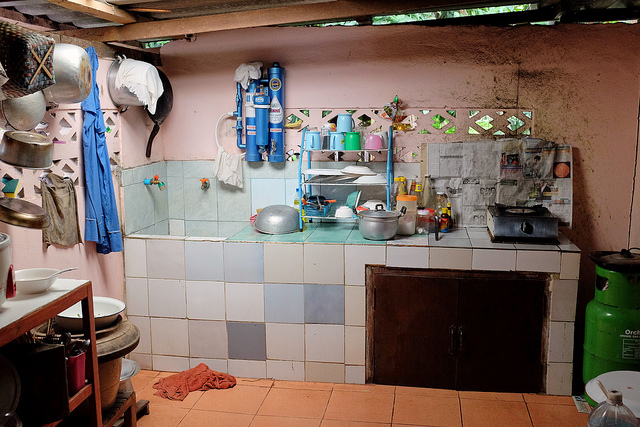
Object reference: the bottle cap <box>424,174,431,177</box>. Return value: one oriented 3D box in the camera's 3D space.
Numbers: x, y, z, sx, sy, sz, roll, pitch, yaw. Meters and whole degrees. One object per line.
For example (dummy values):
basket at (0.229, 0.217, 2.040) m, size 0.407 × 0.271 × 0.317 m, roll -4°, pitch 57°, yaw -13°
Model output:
bottle cap at (0.964, -0.339, 4.448) m, size 0.054 × 0.022 × 0.051 m, roll 2°, pitch 7°, yaw 27°

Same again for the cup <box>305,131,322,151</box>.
cup at (-0.054, -0.642, 4.398) m, size 0.131 × 0.130 × 0.162 m, roll 1°, pitch 12°, yaw 1°

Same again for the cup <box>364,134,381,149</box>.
cup at (0.466, -0.622, 4.326) m, size 0.141 × 0.110 × 0.130 m, roll 0°, pitch -1°, yaw 0°

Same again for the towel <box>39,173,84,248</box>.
towel at (-1.906, -0.025, 3.654) m, size 0.092 × 0.546 × 0.321 m, roll 0°, pitch 7°, yaw 9°

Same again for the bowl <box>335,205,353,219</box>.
bowl at (0.218, -0.009, 4.346) m, size 0.143 × 0.073 × 0.132 m, roll -1°, pitch -1°, yaw 0°

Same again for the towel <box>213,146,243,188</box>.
towel at (-0.871, -0.444, 4.738) m, size 0.367 × 0.322 × 0.137 m, roll 10°, pitch 6°, yaw 2°

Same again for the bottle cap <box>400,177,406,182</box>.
bottle cap at (0.760, -0.308, 4.490) m, size 0.039 × 0.039 × 0.102 m, roll 3°, pitch 7°, yaw 32°

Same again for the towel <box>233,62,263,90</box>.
towel at (-0.661, -1.247, 4.533) m, size 0.255 × 0.219 × 0.073 m, roll 5°, pitch 7°, yaw 8°

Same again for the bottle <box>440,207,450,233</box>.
bottle at (1.078, 0.056, 4.280) m, size 0.074 × 0.200 × 0.122 m, roll 1°, pitch 7°, yaw 14°

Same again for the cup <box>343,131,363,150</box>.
cup at (0.307, -0.648, 4.399) m, size 0.211 × 0.161 × 0.107 m, roll -4°, pitch 7°, yaw -22°

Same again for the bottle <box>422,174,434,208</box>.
bottle at (0.967, -0.202, 4.442) m, size 0.091 × 0.295 × 0.066 m, roll -1°, pitch 7°, yaw 4°

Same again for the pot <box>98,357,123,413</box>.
pot at (-1.424, 1.157, 3.356) m, size 0.093 × 0.363 × 0.247 m, roll 0°, pitch 7°, yaw 9°

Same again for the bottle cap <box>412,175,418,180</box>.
bottle cap at (0.867, -0.329, 4.506) m, size 0.045 × 0.039 × 0.050 m, roll 0°, pitch 7°, yaw 9°

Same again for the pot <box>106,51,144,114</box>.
pot at (-1.687, -1.097, 4.159) m, size 0.182 × 0.400 × 0.371 m, roll -6°, pitch -1°, yaw 31°

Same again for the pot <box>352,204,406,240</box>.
pot at (0.498, 0.057, 4.112) m, size 0.481 × 0.230 × 0.339 m, roll 1°, pitch 11°, yaw 5°

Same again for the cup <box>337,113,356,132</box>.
cup at (0.240, -0.803, 4.420) m, size 0.185 × 0.158 × 0.109 m, roll -3°, pitch 7°, yaw -14°

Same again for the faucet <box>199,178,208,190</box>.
faucet at (-1.133, -0.295, 4.849) m, size 0.110 × 0.117 × 0.034 m, roll 4°, pitch 18°, yaw 8°

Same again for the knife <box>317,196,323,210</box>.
knife at (-0.005, -0.087, 4.380) m, size 0.036 × 0.099 × 0.031 m, roll -17°, pitch -30°, yaw -9°

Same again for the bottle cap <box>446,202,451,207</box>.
bottle cap at (1.129, -0.081, 4.335) m, size 0.032 × 0.030 × 0.030 m, roll 0°, pitch -2°, yaw 20°

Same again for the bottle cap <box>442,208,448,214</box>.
bottle cap at (1.089, -0.027, 4.300) m, size 0.039 × 0.030 × 0.036 m, roll 1°, pitch 5°, yaw -8°

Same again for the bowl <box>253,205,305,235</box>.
bowl at (-0.355, 0.051, 4.298) m, size 0.425 × 0.234 × 0.212 m, roll -1°, pitch 7°, yaw -5°

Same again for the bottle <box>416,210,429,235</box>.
bottle at (0.871, 0.072, 4.198) m, size 0.104 × 0.200 × 0.074 m, roll 0°, pitch 7°, yaw 10°

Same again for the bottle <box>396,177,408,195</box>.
bottle at (0.755, -0.249, 4.475) m, size 0.117 × 0.152 × 0.098 m, roll -3°, pitch 7°, yaw -12°

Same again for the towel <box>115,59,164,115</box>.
towel at (-1.539, -1.111, 4.219) m, size 0.412 × 0.424 × 0.436 m, roll 9°, pitch 9°, yaw -37°

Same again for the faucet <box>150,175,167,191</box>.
faucet at (-1.514, -0.295, 4.668) m, size 0.192 × 0.161 × 0.051 m, roll 0°, pitch 47°, yaw 21°

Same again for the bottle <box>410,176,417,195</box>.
bottle at (0.850, -0.256, 4.491) m, size 0.061 × 0.160 × 0.103 m, roll 0°, pitch 7°, yaw 5°
